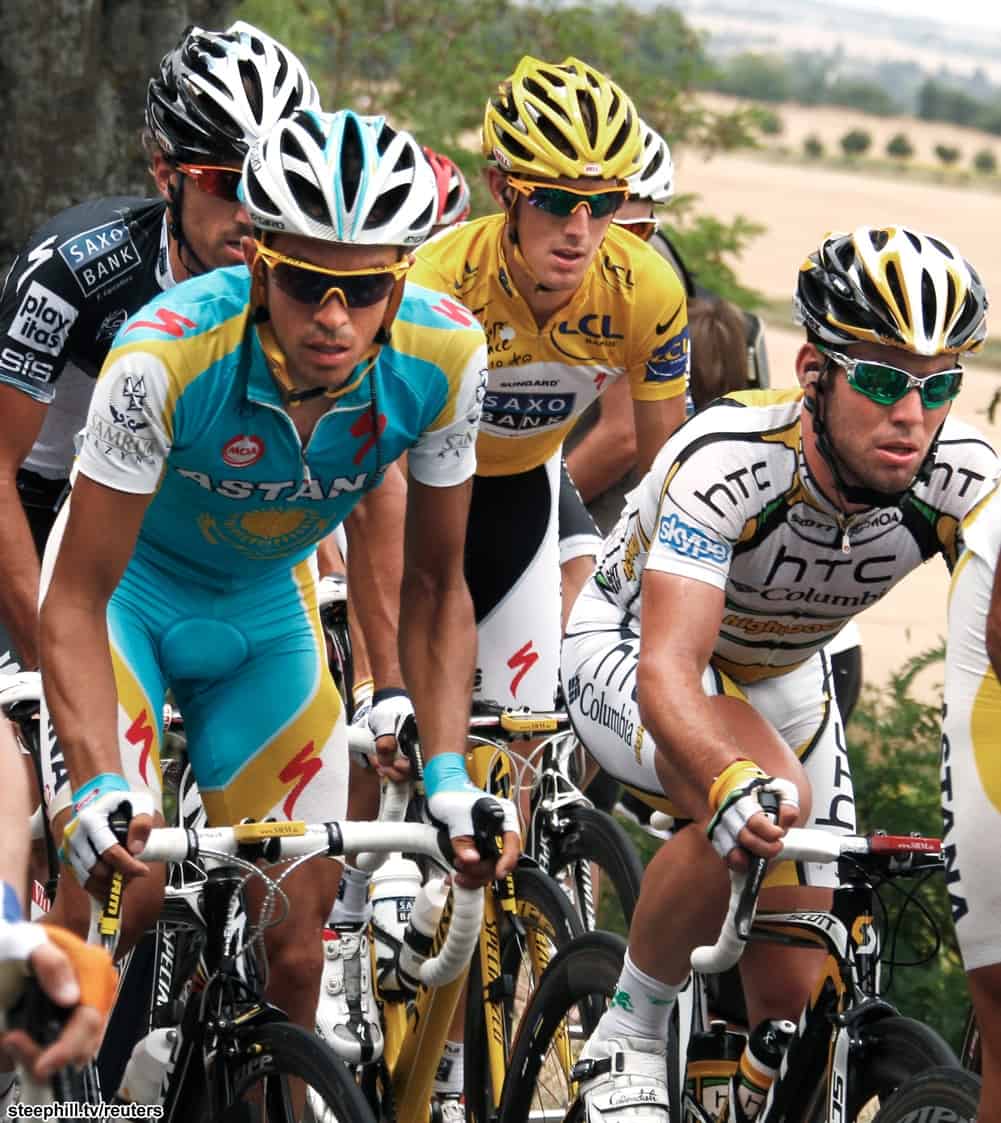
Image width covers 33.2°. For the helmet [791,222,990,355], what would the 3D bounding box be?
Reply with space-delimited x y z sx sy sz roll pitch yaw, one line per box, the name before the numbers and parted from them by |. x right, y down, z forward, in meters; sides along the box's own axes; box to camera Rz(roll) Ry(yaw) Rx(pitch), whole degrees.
helmet | 0.772 -0.538 3.313 0.315 0.213 0.433 7 7 -35

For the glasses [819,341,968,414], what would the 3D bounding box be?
glasses | 0.738 -0.341 3.202 0.274 0.095 0.128 11 6 7

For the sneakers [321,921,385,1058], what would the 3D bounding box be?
sneakers | -0.334 1.006 3.833 0.132 0.138 0.360 -4 18 -14
